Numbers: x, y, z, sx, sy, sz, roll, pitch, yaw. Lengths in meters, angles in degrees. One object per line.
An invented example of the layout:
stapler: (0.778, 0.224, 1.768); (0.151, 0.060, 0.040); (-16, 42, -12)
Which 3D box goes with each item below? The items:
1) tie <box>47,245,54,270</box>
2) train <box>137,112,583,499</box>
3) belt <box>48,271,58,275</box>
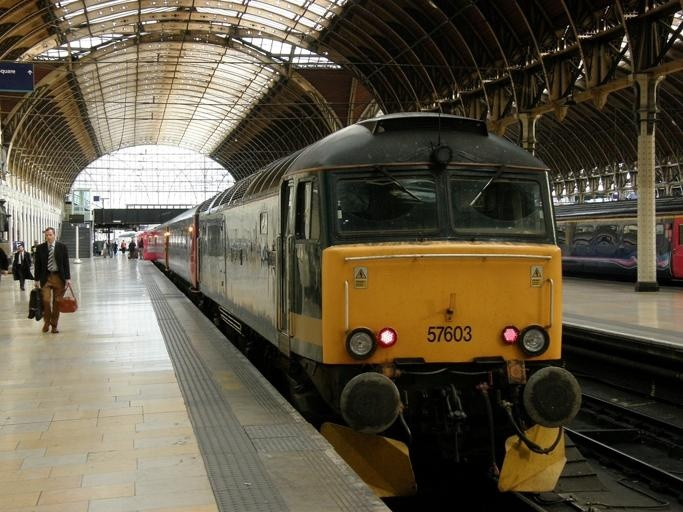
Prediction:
tie: (-6.942, 0.081, 12.236); (0.199, 0.595, 0.194); (0, -1, -13)
train: (0.094, 0.620, 7.427); (2.543, 4.843, 6.053); (0, -1, -33)
belt: (-6.955, 0.405, 12.343); (0.176, 0.083, 0.065); (0, 0, -26)
